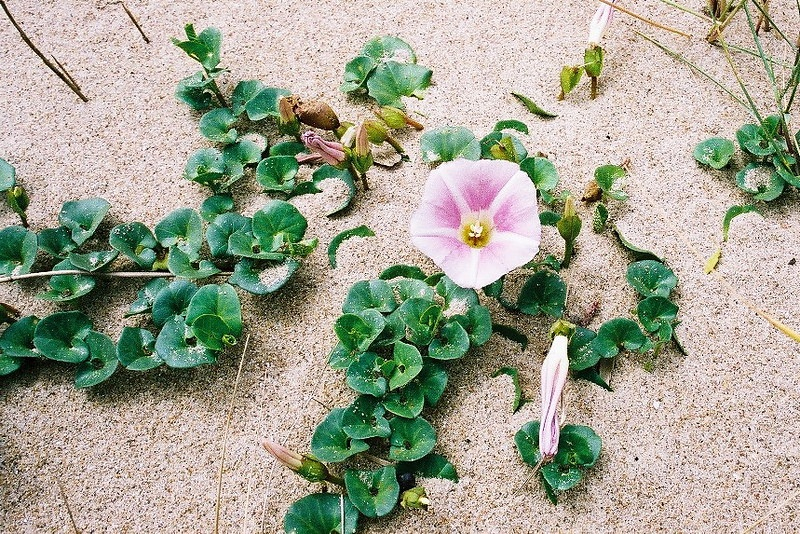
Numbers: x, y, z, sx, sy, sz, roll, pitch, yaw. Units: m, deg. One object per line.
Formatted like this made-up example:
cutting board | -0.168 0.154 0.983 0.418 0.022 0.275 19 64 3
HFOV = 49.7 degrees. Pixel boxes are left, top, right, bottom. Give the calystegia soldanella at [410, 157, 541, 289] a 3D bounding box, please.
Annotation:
calystegia soldanella | 0.301 -0.198 3.208 0.478 0.496 0.231 3 67 -24

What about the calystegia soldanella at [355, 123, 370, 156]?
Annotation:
calystegia soldanella | -0.151 -0.501 3.395 0.054 0.092 0.105 -9 63 -4

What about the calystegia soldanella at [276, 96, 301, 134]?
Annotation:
calystegia soldanella | -0.454 -0.629 3.538 0.062 0.152 0.077 38 82 17
